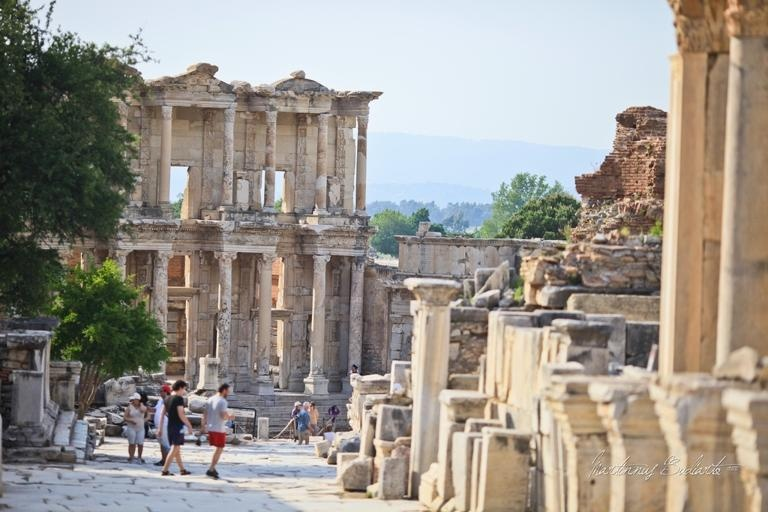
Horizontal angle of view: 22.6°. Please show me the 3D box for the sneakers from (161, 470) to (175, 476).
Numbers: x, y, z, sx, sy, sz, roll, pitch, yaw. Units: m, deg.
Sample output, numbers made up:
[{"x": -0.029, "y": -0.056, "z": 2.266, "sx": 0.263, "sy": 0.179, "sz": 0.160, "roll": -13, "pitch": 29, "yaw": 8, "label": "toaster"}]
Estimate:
[{"x": -4.973, "y": 4.974, "z": 44.111, "sx": 0.306, "sy": 0.124, "sz": 0.103, "roll": 0, "pitch": 4, "yaw": -9, "label": "sneakers"}]

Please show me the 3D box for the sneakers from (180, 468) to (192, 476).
[{"x": -4.601, "y": 4.985, "z": 44.313, "sx": 0.280, "sy": 0.126, "sz": 0.090, "roll": -2, "pitch": 4, "yaw": -13, "label": "sneakers"}]
